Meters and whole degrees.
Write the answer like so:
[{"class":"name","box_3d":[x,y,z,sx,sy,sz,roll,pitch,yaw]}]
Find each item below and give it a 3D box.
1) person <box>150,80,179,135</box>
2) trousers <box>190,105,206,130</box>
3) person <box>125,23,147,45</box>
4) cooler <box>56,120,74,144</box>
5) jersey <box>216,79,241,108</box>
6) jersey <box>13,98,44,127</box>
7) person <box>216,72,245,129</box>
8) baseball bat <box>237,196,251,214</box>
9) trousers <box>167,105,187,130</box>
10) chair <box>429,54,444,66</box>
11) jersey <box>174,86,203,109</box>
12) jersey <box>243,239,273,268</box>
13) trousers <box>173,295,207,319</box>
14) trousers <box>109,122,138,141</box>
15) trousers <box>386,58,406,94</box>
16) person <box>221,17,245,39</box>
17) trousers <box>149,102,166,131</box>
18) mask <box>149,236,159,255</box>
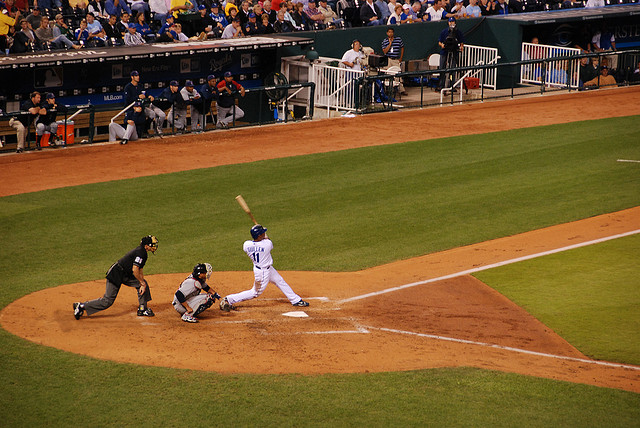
[{"class":"person","box_3d":[-5.521,-3.776,29.650,1.038,1.846,0.612,-6,9,-11]},{"class":"trousers","box_3d":[-4.501,-3.528,30.269,0.460,0.882,0.348,-10,10,-34]},{"class":"person","box_3d":[-7.250,-7.017,32.537,0.496,0.773,0.881,17,30,37]},{"class":"cooler","box_3d":[-8.708,-2.801,28.595,0.819,0.933,0.585,-1,9,-12]},{"class":"jersey","box_3d":[-3.366,-4.381,30.555,1.086,0.809,0.458,-14,25,-42]},{"class":"jersey","box_3d":[-9.705,-3.360,27.626,0.948,0.880,0.586,-7,9,-21]},{"class":"person","box_3d":[-3.345,-4.005,30.577,1.283,2.319,0.949,8,27,12]},{"class":"baseball bat","box_3d":[-2.057,-0.230,22.534,0.116,0.637,0.094,-36,2,9]},{"class":"trousers","box_3d":[-5.147,-3.520,29.938,0.557,0.589,1.367,-10,-7,-10]},{"class":"chair","box_3d":[5.156,-6.764,36.468,0.548,0.631,0.553,0,10,4]},{"class":"jersey","box_3d":[-4.609,-4.076,29.716,0.813,0.737,0.303,-3,32,-24]},{"class":"jersey","box_3d":[-1.452,0.983,19.314,0.817,0.705,0.422,-6,3,-21]},{"class":"trousers","box_3d":[-2.968,2.087,18.965,0.749,0.246,0.412,-16,-19,-8]},{"class":"trousers","box_3d":[-6.923,-2.885,29.140,1.003,0.676,0.527,-4,8,-4]},{"class":"trousers","box_3d":[3.247,-5.883,35.368,0.730,1.563,2.324,-3,8,6]},{"class":"person","box_3d":[-3.540,-7.562,33.803,0.926,0.835,0.750,-4,8,-6]},{"class":"trousers","box_3d":[-5.795,-3.500,29.588,0.580,0.387,0.944,8,19,-14]},{"class":"mask","box_3d":[-3.763,0.689,18.859,0.176,0.325,0.246,3,28,-15]}]
